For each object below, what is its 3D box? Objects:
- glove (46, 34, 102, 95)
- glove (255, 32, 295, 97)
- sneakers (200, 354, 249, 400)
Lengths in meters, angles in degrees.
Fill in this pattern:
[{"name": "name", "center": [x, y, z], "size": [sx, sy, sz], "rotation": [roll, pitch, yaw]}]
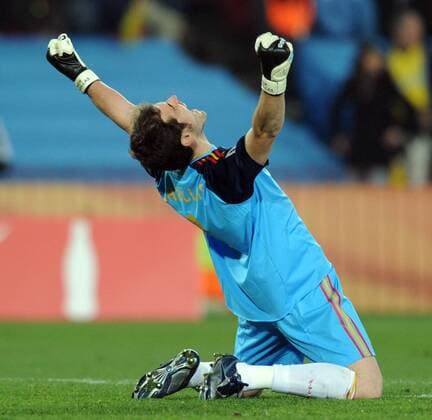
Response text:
[{"name": "glove", "center": [-1.057, -1.064, 6.693], "size": [0.303, 0.490, 0.195], "rotation": [-47, 5, -7]}, {"name": "glove", "center": [0.402, -0.922, 5.750], "size": [0.219, 0.389, 0.245], "rotation": [-15, 27, -39]}, {"name": "sneakers", "center": [0.057, 1.142, 6.061], "size": [0.190, 0.376, 0.200], "rotation": [31, 8, -14]}]
